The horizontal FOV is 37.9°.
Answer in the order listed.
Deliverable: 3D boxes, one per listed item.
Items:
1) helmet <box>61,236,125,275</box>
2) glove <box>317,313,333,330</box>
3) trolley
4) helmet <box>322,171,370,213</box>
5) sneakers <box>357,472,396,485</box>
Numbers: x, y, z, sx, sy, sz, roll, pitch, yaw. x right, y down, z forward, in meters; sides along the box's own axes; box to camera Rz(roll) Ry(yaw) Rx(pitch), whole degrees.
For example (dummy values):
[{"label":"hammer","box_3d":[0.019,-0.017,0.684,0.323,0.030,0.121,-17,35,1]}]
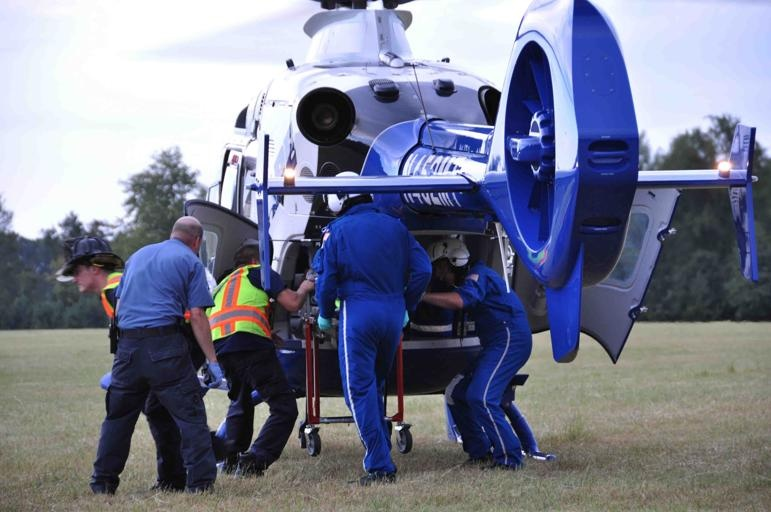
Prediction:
[{"label":"helmet","box_3d":[-3.317,-0.050,12.671,0.583,0.321,0.468,-7,-4,-12]},{"label":"glove","box_3d":[-0.686,0.738,12.604,0.169,0.165,0.153,12,11,32]},{"label":"trolley","box_3d":[-0.343,1.485,13.289,1.311,1.603,1.093,3,-12,-4]},{"label":"helmet","box_3d":[-0.505,-0.720,12.648,0.470,0.405,0.474,-9,20,15]},{"label":"sneakers","box_3d":[-0.110,2.419,12.263,0.418,0.182,0.143,3,-1,-7]}]
